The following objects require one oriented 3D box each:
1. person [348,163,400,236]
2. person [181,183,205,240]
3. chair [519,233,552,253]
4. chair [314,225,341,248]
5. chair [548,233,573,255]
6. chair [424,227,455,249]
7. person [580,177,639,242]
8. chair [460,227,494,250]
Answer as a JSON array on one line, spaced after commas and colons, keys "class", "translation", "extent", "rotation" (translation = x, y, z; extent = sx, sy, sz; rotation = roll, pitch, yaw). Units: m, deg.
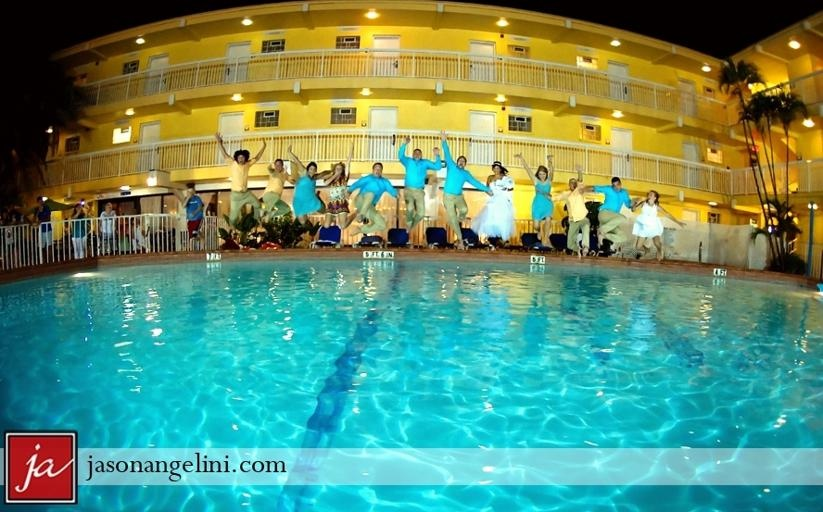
[{"class": "person", "translation": [-1.206, -1.684, 14.272], "extent": [1.029, 2.047, 1.319], "rotation": [1, -4, 1]}, {"class": "person", "translation": [-6.719, -1.423, 15.392], "extent": [0.560, 1.903, 1.542], "rotation": [3, -5, -24]}, {"class": "chair", "translation": [4.070, -0.396, 16.533], "extent": [0.426, 0.511, 1.336], "rotation": [2, -7, -18]}, {"class": "chair", "translation": [-2.519, -0.577, 15.644], "extent": [0.664, 0.875, 0.751], "rotation": [4, -7, -4]}, {"class": "chair", "translation": [5.065, -0.413, 16.648], "extent": [0.635, 0.690, 0.570], "rotation": [-1, 2, -11]}, {"class": "chair", "translation": [0.936, -0.574, 16.608], "extent": [0.676, 0.857, 0.750], "rotation": [1, -6, -5]}, {"class": "person", "translation": [5.668, -1.270, 14.184], "extent": [0.917, 1.658, 1.245], "rotation": [-2, -5, 35]}, {"class": "chair", "translation": [2.210, -0.569, 16.810], "extent": [1.051, 0.581, 0.775], "rotation": [1, 4, 7]}]
